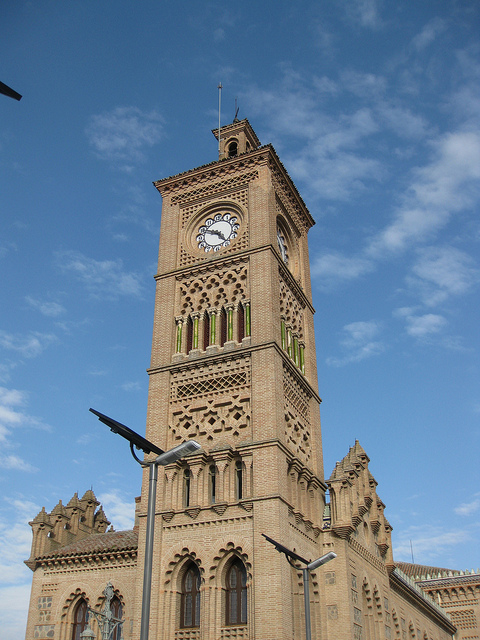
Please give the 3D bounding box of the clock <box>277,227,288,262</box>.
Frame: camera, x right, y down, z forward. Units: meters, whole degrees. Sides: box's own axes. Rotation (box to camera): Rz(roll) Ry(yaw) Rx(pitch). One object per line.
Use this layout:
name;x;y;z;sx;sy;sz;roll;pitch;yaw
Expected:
clock;1.892;-3.390;34.321;0.046;1.812;1.942;-19;6;8

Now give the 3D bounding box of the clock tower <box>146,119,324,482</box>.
clock tower;-0.266;-0.918;31.299;6.549;14.206;4.843;3;-30;-6
